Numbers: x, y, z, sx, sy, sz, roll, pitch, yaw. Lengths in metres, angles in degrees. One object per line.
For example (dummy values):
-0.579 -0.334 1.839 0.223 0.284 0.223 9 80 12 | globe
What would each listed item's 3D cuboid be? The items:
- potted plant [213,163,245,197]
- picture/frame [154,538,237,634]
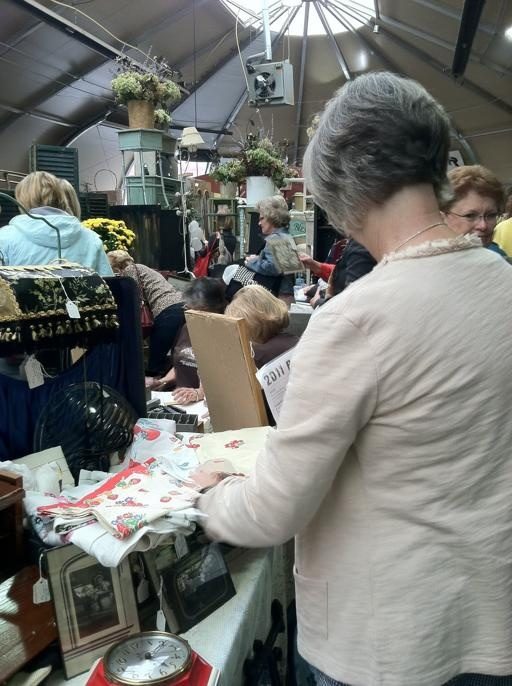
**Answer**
-0.414 -2.616 8.290 0.591 0.516 0.530 -1 0 -2 | potted plant
-0.108 0.424 0.922 0.043 0.103 0.121 -20 -3 36 | picture/frame
